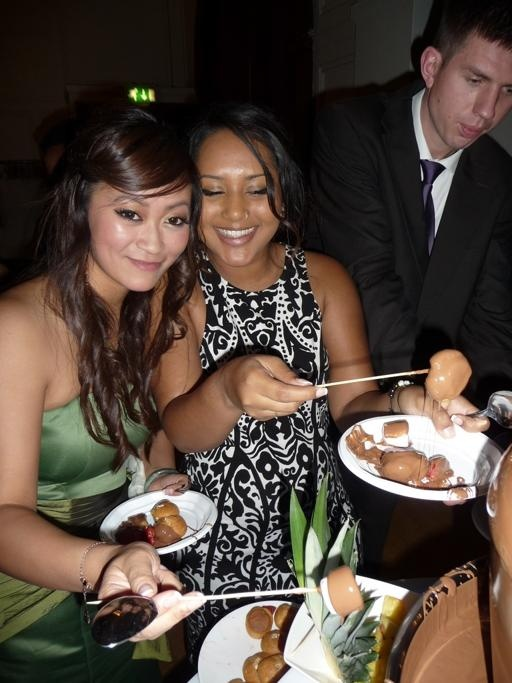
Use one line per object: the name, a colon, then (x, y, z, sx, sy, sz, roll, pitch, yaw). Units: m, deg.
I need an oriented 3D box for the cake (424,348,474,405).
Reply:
cake: (0.498, 0.087, 1.433, 0.052, 0.126, 0.130, 22, 42, 39)

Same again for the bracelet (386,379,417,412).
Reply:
bracelet: (0.489, 0.162, 1.867, 0.099, 0.129, 0.047, 8, 6, 0)

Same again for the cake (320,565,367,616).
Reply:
cake: (0.124, 0.374, 0.814, 0.056, 0.081, 0.058, -2, 33, 1)

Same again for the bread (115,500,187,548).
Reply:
bread: (-0.325, 0.573, 1.705, 0.164, 0.057, 0.157, -2, 3, -22)

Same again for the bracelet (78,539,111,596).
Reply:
bracelet: (-0.352, 0.485, 1.205, 0.079, 0.103, 0.032, -4, -2, 31)
